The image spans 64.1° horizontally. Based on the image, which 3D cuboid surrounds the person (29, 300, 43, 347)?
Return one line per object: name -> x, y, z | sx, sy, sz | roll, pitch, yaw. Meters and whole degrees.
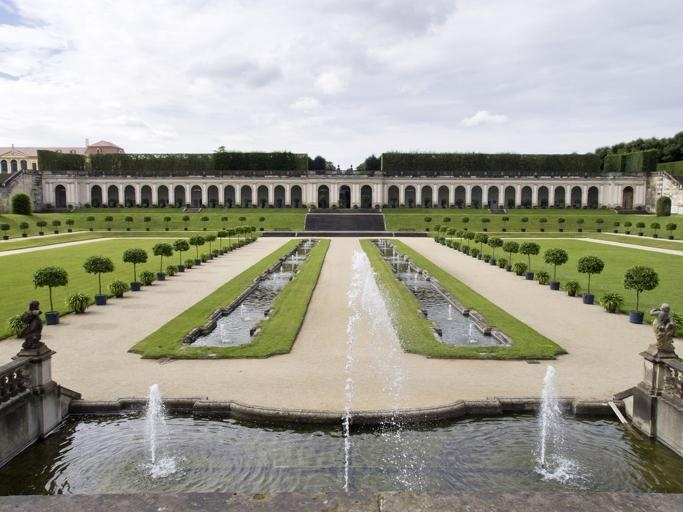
person -> -6.298, 1.369, 11.061 | 0.324, 0.900, 0.847 | -5, 10, -28
